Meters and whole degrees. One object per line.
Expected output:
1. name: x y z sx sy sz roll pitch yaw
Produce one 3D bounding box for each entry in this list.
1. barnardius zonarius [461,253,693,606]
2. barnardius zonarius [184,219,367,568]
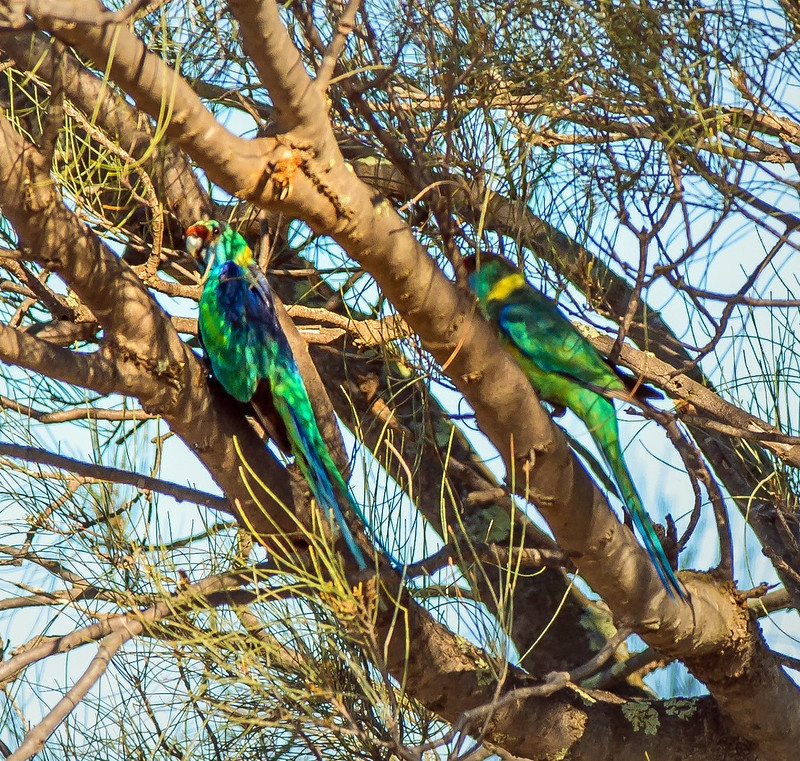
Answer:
1. barnardius zonarius: 0.713 0.101 5.894 0.707 1.317 0.355 -65 -22 4
2. barnardius zonarius: -0.395 -0.025 5.384 0.583 1.148 0.312 -59 -29 0
